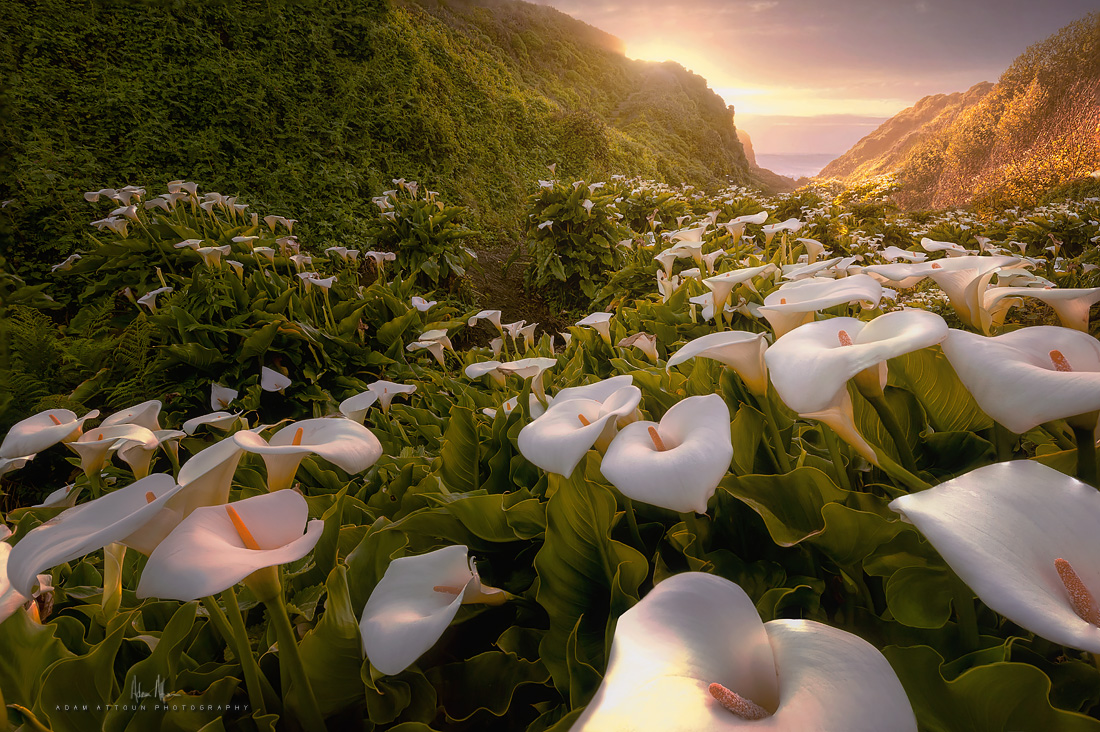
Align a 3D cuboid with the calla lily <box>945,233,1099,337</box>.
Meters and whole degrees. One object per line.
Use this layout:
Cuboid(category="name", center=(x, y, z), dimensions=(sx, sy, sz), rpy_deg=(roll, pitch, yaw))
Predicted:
Cuboid(category="calla lily", center=(1.684, -0.241, 2.212), dimensions=(0.313, 0.285, 0.475), rpy_deg=(-15, 34, -27))
